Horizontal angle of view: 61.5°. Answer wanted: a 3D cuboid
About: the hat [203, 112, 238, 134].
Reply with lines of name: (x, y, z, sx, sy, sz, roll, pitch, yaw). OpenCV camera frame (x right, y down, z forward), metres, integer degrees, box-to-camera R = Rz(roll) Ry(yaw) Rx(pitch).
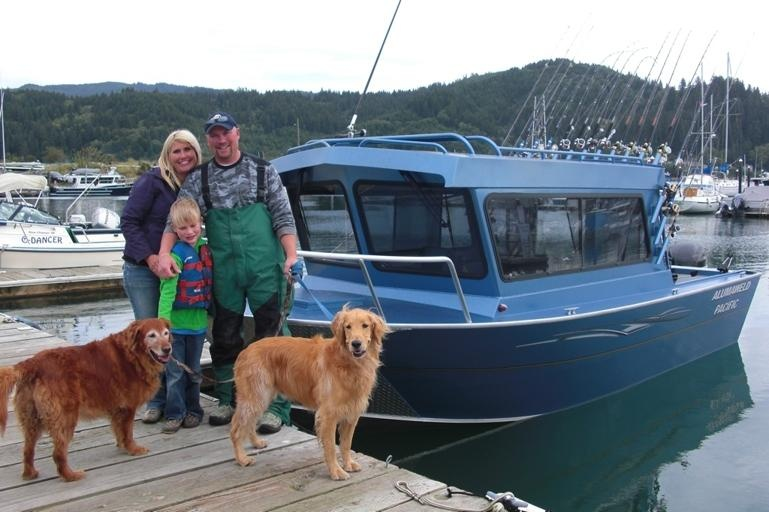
hat: (-1.508, -1.231, 5.914, 0.195, 0.158, 0.273, -17, -14, -4)

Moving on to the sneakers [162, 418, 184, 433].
sneakers: (-1.996, 1.583, 6.022, 0.087, 0.077, 0.179, 0, -5, -1)

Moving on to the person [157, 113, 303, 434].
person: (-1.443, 0.176, 6.150, 1.312, 2.900, 0.871, -2, 16, -7)

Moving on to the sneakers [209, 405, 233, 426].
sneakers: (-1.571, 1.513, 6.185, 0.130, 0.139, 0.327, 3, -3, 6)

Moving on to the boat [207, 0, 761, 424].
boat: (2.036, 0.043, 8.672, 5.517, 2.359, 3.296, -5, 3, -45)

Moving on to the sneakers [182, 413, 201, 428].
sneakers: (-1.829, 1.555, 6.126, 0.148, 0.093, 0.067, -21, -21, -15)

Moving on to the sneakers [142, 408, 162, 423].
sneakers: (-2.240, 1.529, 6.198, 0.099, 0.086, 0.198, 0, -7, -11)
